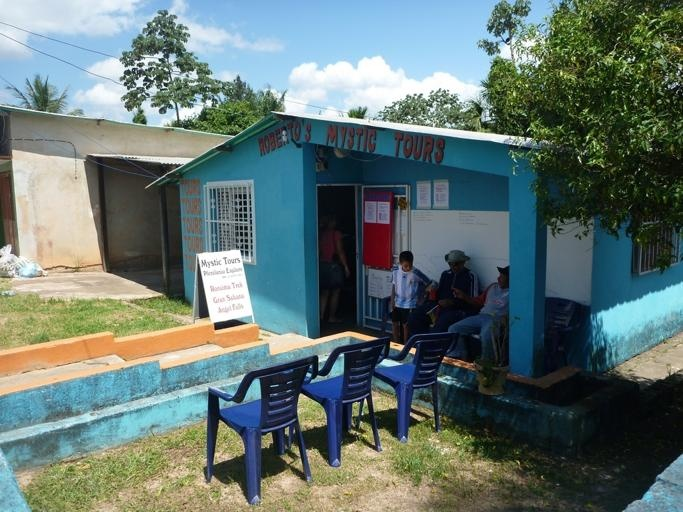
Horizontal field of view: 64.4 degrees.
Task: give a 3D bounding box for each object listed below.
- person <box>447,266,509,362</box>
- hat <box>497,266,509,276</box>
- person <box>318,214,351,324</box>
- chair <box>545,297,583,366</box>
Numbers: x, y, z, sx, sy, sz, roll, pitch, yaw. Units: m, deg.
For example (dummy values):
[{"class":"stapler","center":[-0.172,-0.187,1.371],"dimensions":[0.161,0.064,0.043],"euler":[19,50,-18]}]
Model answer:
[{"class":"person","center":[1.856,0.849,7.277],"dimensions":[0.702,1.230,1.621],"euler":[3,12,16]},{"class":"hat","center":[2.262,0.217,7.539],"dimensions":[0.170,0.071,0.114],"euler":[11,26,-12]},{"class":"person","center":[-0.149,0.279,10.618],"dimensions":[0.547,2.077,0.690],"euler":[-1,11,-3]},{"class":"chair","center":[2.962,1.058,7.288],"dimensions":[0.471,0.828,0.621],"euler":[5,12,25]}]
